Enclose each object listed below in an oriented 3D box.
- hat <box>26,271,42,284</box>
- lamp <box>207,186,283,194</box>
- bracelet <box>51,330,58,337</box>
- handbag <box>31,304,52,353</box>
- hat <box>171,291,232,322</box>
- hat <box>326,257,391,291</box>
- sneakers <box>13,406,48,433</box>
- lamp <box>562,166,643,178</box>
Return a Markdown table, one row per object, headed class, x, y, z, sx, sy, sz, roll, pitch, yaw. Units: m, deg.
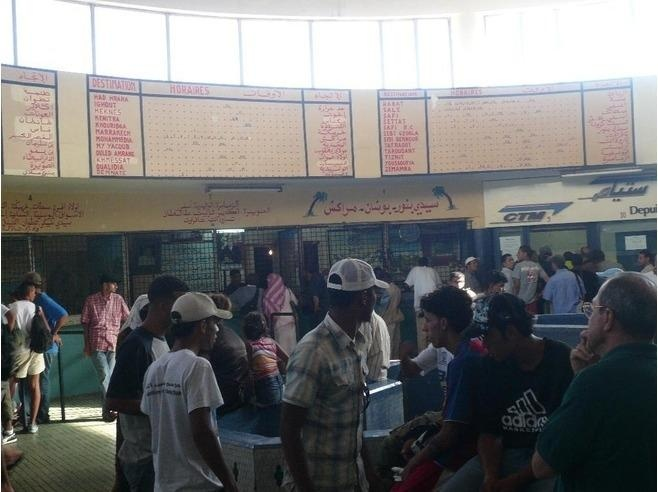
| class | x | y | z | sx | sy | sz | roll | pitch | yaw |
| --- | --- | --- | --- | --- | --- | --- | --- | --- | --- |
| hat | -4.383 | 0.476 | 10.033 | 0.231 | 0.111 | 0.328 | 12 | 6 | -24 |
| lamp | -1.529 | -1.022 | 12.311 | 1.394 | 0.154 | 0.241 | -4 | 0 | -11 |
| bracelet | -4.002 | 1.269 | 9.877 | 0.103 | 0.105 | 0.101 | -5 | 1 | -37 |
| handbag | -3.968 | 1.148 | 9.287 | 0.278 | 0.680 | 0.196 | -4 | 1 | -25 |
| hat | -1.149 | 0.544 | 5.988 | 0.429 | 0.216 | 0.271 | -4 | 1 | -21 |
| hat | 0.233 | 0.244 | 5.861 | 0.378 | 0.198 | 0.249 | -4 | 3 | -32 |
| sneakers | -4.312 | 2.478 | 9.674 | 0.200 | 0.252 | 0.552 | -1 | 0 | -3 |
| lamp | 5.006 | -1.319 | 12.414 | 1.365 | 0.169 | 0.328 | -4 | 0 | 22 |
